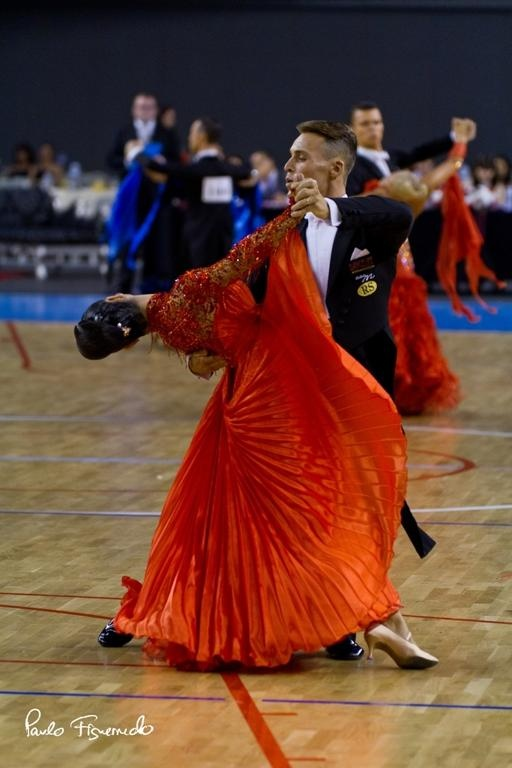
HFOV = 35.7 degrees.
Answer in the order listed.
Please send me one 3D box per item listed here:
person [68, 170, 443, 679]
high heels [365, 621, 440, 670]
[{"bbox_3d":[-0.068,0.073,2.493,1.185,1.306,1.249,0,0,-31],"label":"person"},{"bbox_3d":[0.344,0.616,1.890,0.167,0.115,0.114,0,0,9],"label":"high heels"}]
